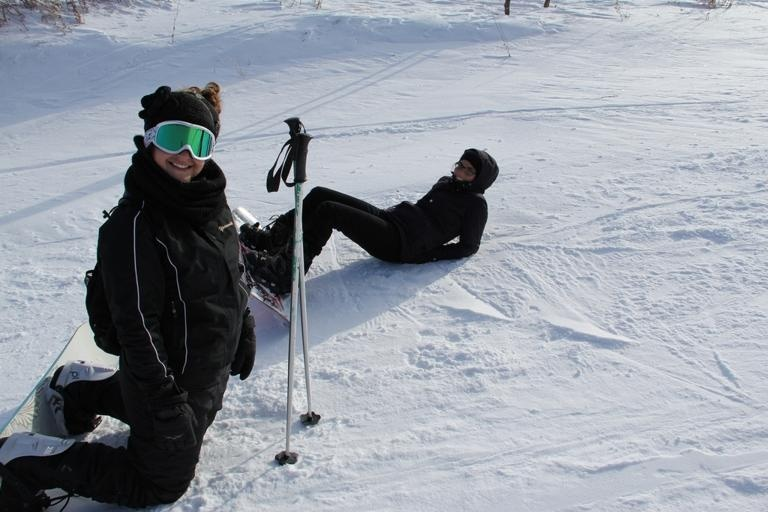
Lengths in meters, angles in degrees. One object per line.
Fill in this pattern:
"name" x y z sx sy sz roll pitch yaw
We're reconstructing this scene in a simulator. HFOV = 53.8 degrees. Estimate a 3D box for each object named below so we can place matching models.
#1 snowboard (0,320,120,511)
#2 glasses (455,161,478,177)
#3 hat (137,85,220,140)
"snowboard" -2.910 1.306 6.468 0.295 0.500 1.795 10 53 37
"glasses" 0.912 -0.951 8.608 0.242 0.185 0.071 10 -2 7
"hat" -1.705 -1.215 6.193 0.553 0.271 0.584 15 -3 -31
